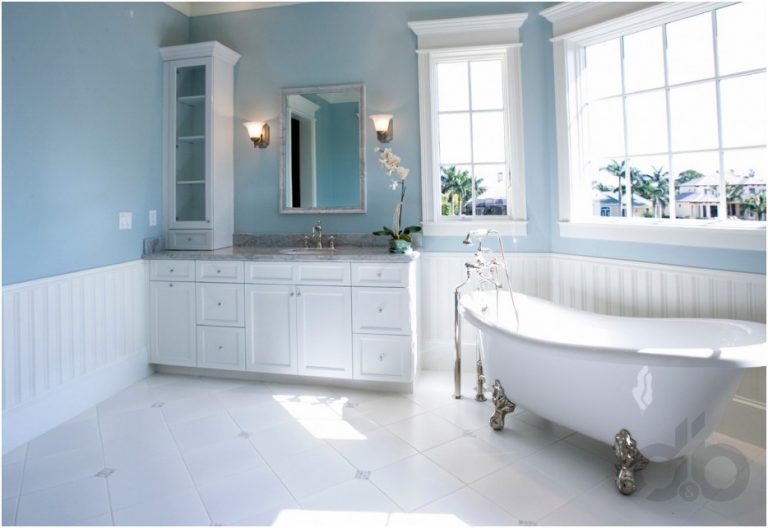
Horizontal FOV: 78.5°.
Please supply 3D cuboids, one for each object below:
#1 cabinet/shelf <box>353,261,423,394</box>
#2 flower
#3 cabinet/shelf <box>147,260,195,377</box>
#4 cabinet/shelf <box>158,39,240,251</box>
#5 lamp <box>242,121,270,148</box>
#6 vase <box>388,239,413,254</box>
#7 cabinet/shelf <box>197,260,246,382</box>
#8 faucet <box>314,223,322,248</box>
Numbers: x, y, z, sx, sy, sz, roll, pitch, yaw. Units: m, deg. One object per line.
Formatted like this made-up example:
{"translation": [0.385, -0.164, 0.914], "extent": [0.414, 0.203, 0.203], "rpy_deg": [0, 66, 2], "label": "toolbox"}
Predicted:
{"translation": [-0.026, 0.476, 3.888], "extent": [0.497, 0.987, 0.170], "rpy_deg": [1, 8, 17], "label": "cabinet/shelf"}
{"translation": [0.103, -0.642, 4.203], "extent": [0.452, 0.850, 0.564], "rpy_deg": [-1, 8, 4], "label": "flower"}
{"translation": [-1.902, 0.432, 4.194], "extent": [0.470, 0.925, 0.141], "rpy_deg": [1, 8, 18], "label": "cabinet/shelf"}
{"translation": [-1.740, -1.092, 4.452], "extent": [0.786, 1.891, 0.417], "rpy_deg": [-4, 8, -15], "label": "cabinet/shelf"}
{"translation": [-1.251, -1.258, 4.582], "extent": [0.266, 0.260, 0.128], "rpy_deg": [-2, 8, -1], "label": "lamp"}
{"translation": [0.132, -0.150, 3.973], "extent": [0.180, 0.118, 0.164], "rpy_deg": [-1, 8, 2], "label": "vase"}
{"translation": [-1.439, 0.445, 4.108], "extent": [0.441, 0.938, 0.151], "rpy_deg": [1, 8, 18], "label": "cabinet/shelf"}
{"translation": [-0.630, -0.281, 4.478], "extent": [0.074, 0.239, 0.200], "rpy_deg": [-3, 8, -7], "label": "faucet"}
